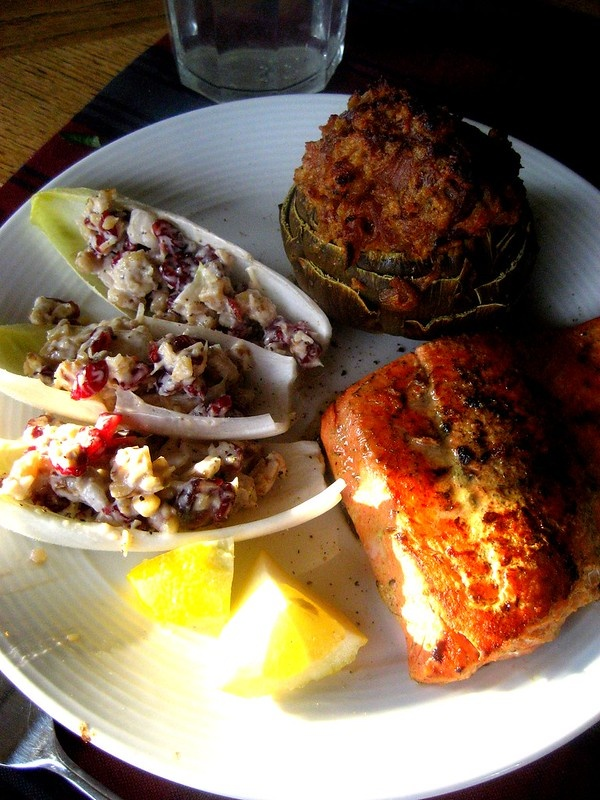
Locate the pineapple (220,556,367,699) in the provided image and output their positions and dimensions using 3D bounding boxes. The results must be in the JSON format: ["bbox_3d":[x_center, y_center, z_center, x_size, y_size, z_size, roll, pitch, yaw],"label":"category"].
[{"bbox_3d":[-0.086,0.596,2.048,0.363,0.150,0.341,42,68,16],"label":"pineapple"}]

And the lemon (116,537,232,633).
[{"bbox_3d":[-0.308,0.473,2.079,0.259,0.131,0.217,1,64,-4],"label":"lemon"}]
